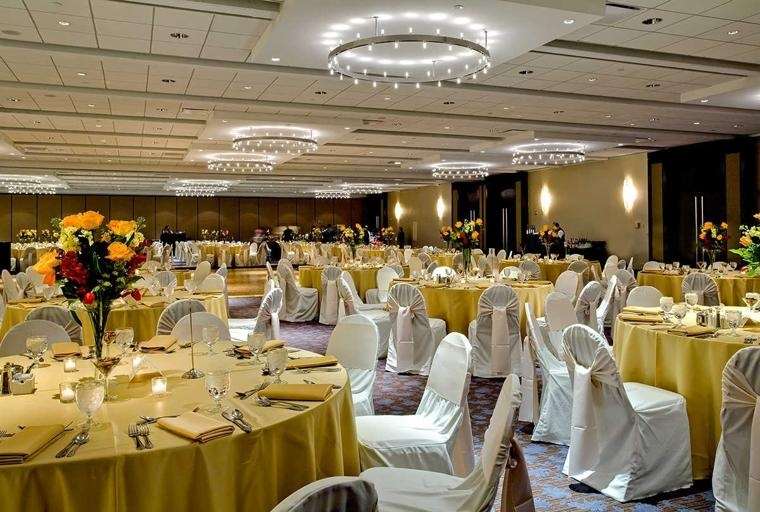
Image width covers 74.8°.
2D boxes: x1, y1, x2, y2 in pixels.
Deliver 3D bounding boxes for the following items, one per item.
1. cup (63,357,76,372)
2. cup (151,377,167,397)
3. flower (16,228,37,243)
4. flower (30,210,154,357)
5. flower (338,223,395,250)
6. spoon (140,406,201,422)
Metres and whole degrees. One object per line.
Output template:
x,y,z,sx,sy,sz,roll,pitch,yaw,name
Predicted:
-2.083,0.724,3.336,0.084,0.104,0.085,1,-4,0,cup
-1.310,0.780,2.976,0.089,0.112,0.097,3,-2,0,cup
-18.269,-1.040,25.523,0.847,0.604,0.848,0,-2,-29,flower
-1.729,0.203,3.305,0.749,1.050,0.854,0,-6,-8,flower
-0.477,-0.817,20.254,1.875,1.176,2.063,0,4,-17,flower
-1.124,0.845,2.636,0.302,0.038,0.168,-1,2,-20,spoon
